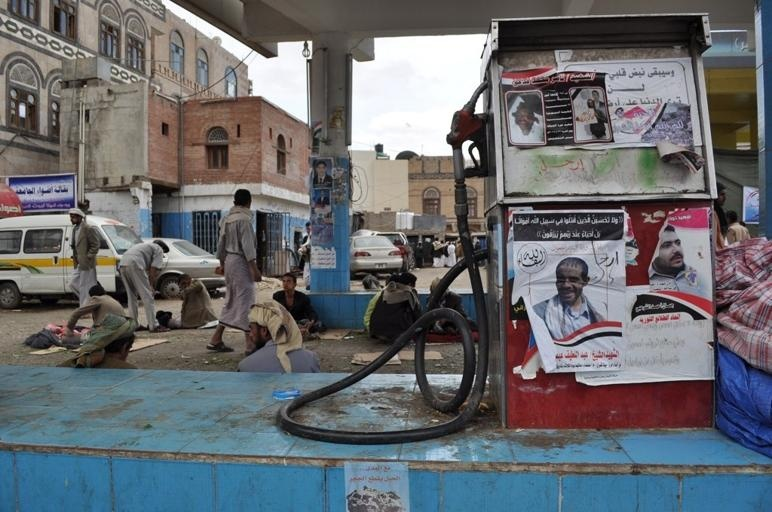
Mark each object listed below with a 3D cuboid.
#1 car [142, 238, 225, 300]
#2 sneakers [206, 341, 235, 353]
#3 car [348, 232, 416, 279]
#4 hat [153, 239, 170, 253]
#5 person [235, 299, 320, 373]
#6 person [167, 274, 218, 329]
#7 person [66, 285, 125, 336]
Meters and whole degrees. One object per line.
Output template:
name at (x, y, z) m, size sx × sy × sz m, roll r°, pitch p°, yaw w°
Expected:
car at (-3.967, 0.305, 17.932) m, size 2.931 × 1.131 × 1.449 m, roll 2°, pitch -1°, yaw 1°
sneakers at (-2.323, 1.313, 11.074) m, size 0.435 × 0.171 × 0.142 m, roll 4°, pitch 6°, yaw -16°
car at (-0.204, 0.028, 21.592) m, size 1.318 × 0.871 × 2.749 m, roll -1°, pitch 5°, yaw -6°
hat at (-4.576, -0.165, 15.923) m, size 0.247 × 0.277 × 0.320 m, roll -5°, pitch -18°, yaw 11°
person at (-1.248, 0.980, 8.744) m, size 1.005 × 0.886 × 0.696 m, roll -2°, pitch -4°, yaw -27°
person at (-3.392, 0.789, 13.597) m, size 0.907 × 0.918 × 0.726 m, roll -3°, pitch -2°, yaw -1°
person at (-4.320, 0.854, 11.471) m, size 0.757 × 0.662 × 1.479 m, roll -7°, pitch 11°, yaw -25°
